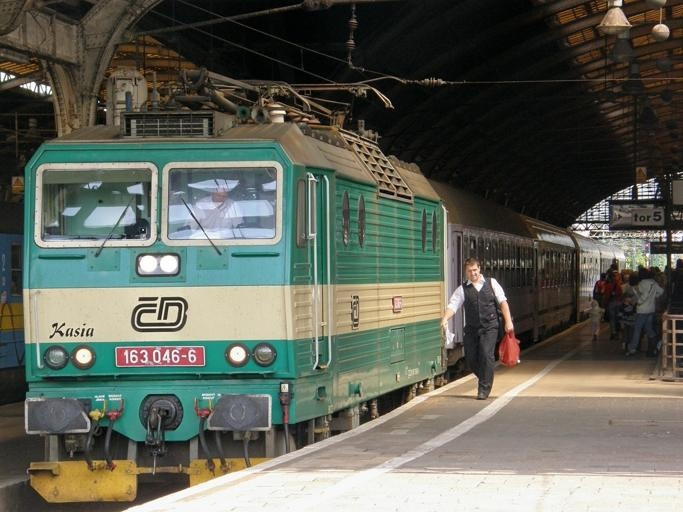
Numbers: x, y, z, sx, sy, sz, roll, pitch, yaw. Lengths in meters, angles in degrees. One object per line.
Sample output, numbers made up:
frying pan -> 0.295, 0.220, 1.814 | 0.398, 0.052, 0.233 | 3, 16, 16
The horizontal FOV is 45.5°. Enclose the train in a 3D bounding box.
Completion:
train -> -0.079, 0.745, 17.069 | 3.340, 5.192, 17.159 | -1, -1, 21
